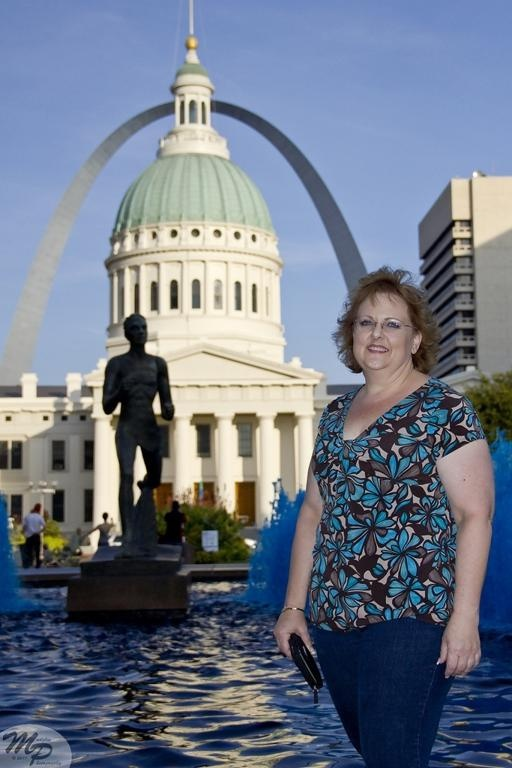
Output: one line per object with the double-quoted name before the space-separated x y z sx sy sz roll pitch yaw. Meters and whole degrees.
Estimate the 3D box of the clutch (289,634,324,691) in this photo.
"clutch" 0.192 1.179 5.593 0.056 0.227 0.119 -37 -13 21

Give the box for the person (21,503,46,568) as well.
"person" -4.070 2.788 24.264 0.373 1.126 1.817 -2 -6 -11

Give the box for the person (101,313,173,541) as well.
"person" -1.154 0.450 13.058 0.673 2.251 0.928 -3 -6 4
